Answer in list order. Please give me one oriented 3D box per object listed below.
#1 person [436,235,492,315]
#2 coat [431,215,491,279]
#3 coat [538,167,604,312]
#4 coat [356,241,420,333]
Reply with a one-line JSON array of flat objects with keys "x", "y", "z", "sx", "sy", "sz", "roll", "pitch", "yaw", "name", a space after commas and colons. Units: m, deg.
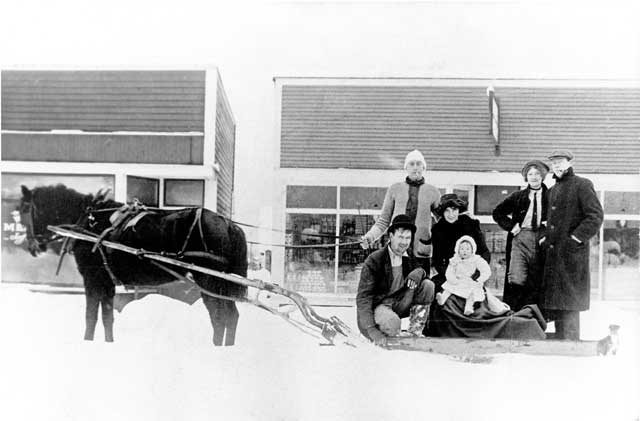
[{"x": 1.744, "y": 0.754, "z": 14.998, "sx": 0.697, "sy": 0.819, "sz": 0.738, "roll": 0, "pitch": 23, "yaw": 7, "name": "person"}, {"x": 1.754, "y": 0.486, "z": 15.283, "sx": 0.571, "sy": 0.854, "sz": 0.753, "roll": 0, "pitch": -1, "yaw": 2, "name": "coat"}, {"x": 3.068, "y": 0.377, "z": 15.025, "sx": 0.702, "sy": 1.562, "sz": 0.124, "roll": 2, "pitch": 1, "yaw": -6, "name": "coat"}, {"x": 0.819, "y": 0.934, "z": 15.098, "sx": 0.602, "sy": 1.116, "sz": 0.578, "roll": 0, "pitch": -1, "yaw": -25, "name": "coat"}]
